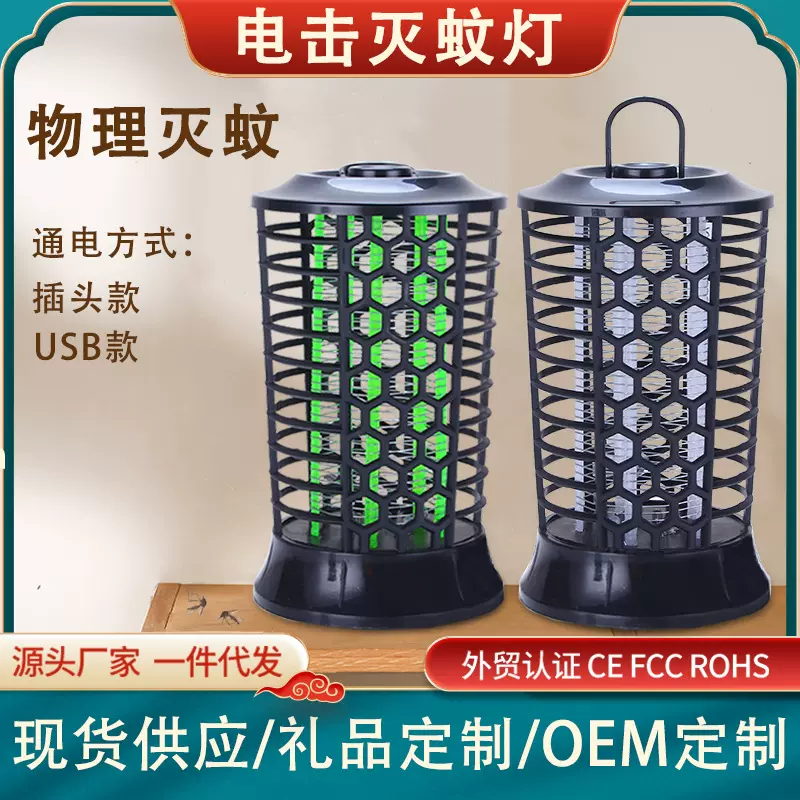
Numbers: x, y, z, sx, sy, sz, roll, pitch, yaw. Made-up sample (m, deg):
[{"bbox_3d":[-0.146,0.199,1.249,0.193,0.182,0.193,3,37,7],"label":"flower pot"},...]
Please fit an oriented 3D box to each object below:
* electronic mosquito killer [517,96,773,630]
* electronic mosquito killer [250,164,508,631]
[{"bbox_3d":[0.253,-0.045,1.067,0.271,0.515,0.319,-1,0,5],"label":"electronic mosquito killer"},{"bbox_3d":[-0.024,-0.003,1.082,0.266,0.442,0.334,-1,0,1],"label":"electronic mosquito killer"}]
